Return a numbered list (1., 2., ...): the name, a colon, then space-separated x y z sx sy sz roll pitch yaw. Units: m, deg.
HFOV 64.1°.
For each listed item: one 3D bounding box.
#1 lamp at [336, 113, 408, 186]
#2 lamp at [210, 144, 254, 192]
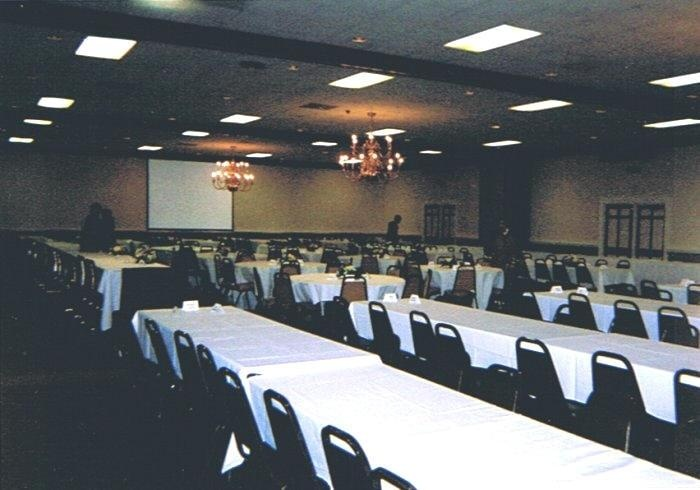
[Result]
1. lamp: 0.569 -1.967 11.889 1.323 0.873 1.158 -4 7 -1
2. lamp: -3.611 -2.248 16.891 1.135 1.281 1.089 0 4 13
